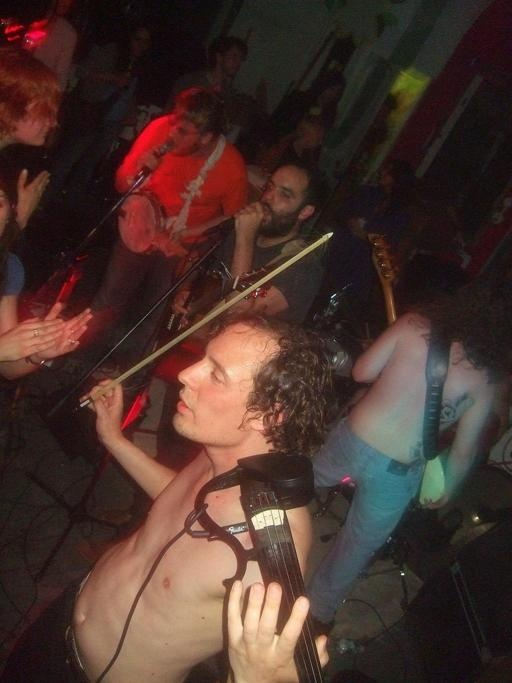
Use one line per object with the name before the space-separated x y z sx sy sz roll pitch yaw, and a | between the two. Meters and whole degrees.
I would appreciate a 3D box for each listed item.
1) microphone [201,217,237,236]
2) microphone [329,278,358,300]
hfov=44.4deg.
microphone | -0.213 -0.657 3.640 0.102 0.155 0.032 -120 -173 -77
microphone | 0.568 -0.334 4.062 0.035 0.168 0.112 64 -1 -1
